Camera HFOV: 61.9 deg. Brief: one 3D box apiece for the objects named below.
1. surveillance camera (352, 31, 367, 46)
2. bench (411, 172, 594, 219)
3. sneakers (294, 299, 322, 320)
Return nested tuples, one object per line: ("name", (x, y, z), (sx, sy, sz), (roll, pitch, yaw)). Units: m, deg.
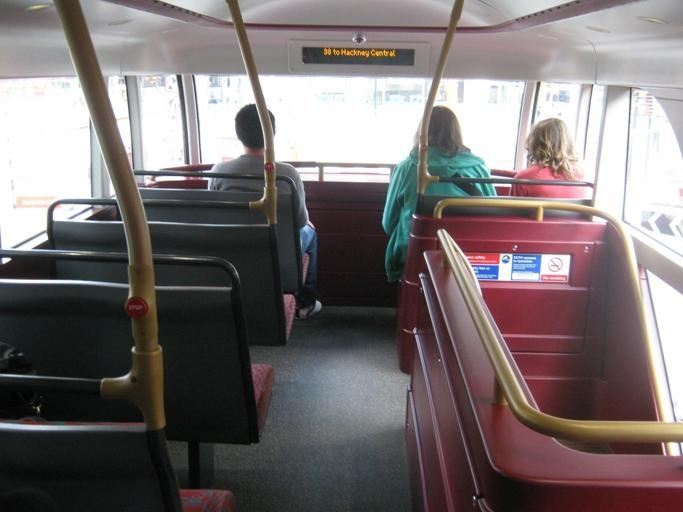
("surveillance camera", (0.120, -1.467, 3.864), (0.071, 0.058, 0.073), (2, 13, -9))
("bench", (1.124, -0.454, 3.868), (1.082, 0.258, 1.628), (6, 16, 23))
("sneakers", (-0.278, 0.452, 4.816), (0.091, 0.114, 0.254), (17, 25, 29))
